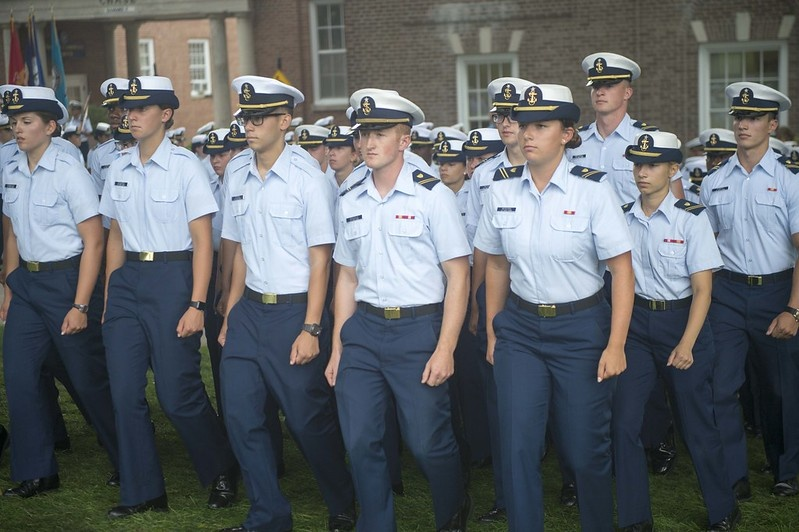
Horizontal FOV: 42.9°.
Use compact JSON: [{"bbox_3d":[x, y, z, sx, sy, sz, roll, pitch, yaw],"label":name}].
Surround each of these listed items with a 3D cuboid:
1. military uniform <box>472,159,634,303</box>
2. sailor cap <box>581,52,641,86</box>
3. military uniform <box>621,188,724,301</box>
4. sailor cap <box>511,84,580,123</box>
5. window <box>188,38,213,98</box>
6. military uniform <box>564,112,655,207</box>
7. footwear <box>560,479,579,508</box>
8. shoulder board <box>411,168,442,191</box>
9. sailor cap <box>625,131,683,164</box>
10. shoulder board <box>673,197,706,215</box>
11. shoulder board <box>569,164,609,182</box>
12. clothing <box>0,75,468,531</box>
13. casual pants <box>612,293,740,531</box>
[{"bbox_3d":[1.176,-0.218,7.715,1.168,1.005,0.549,0,4,27],"label":"military uniform"},{"bbox_3d":[1.932,-1.777,9.245,0.545,0.298,0.606,0,7,33],"label":"sailor cap"},{"bbox_3d":[2.207,-0.129,8.177,0.882,0.821,0.376,-4,-2,37],"label":"military uniform"},{"bbox_3d":[1.157,-1.241,7.805,0.519,0.284,0.673,6,8,28],"label":"sailor cap"},{"bbox_3d":[-6.641,-6.600,33.925,0.777,1.965,0.154,-2,-11,-19],"label":"window"},{"bbox_3d":[1.780,-0.864,8.477,0.853,0.937,0.503,-2,-3,37],"label":"military uniform"},{"bbox_3d":[1.412,1.911,8.367,0.088,0.188,0.264,-2,-8,7],"label":"footwear"},{"bbox_3d":[0.209,-0.667,7.871,0.168,0.045,0.161,38,38,19],"label":"shoulder board"},{"bbox_3d":[2.090,-0.960,8.285,0.442,0.271,0.261,0,10,9],"label":"sailor cap"},{"bbox_3d":[2.358,-0.472,8.203,0.154,0.046,0.155,30,53,26],"label":"shoulder board"},{"bbox_3d":[1.435,-0.693,7.639,0.206,0.064,0.140,20,36,19],"label":"shoulder board"},{"bbox_3d":[-0.745,0.313,8.086,2.593,3.602,1.030,1,10,15],"label":"clothing"},{"bbox_3d":[2.187,1.173,8.068,0.981,1.712,0.645,-1,10,2],"label":"casual pants"}]
